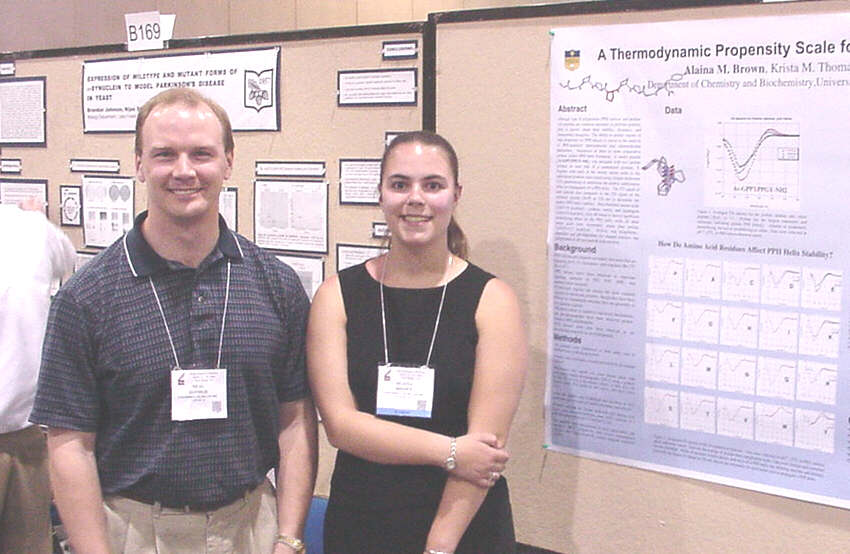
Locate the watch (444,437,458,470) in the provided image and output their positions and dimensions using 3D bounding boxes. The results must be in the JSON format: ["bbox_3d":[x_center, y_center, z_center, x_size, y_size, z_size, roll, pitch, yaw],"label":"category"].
[{"bbox_3d":[0.089,0.610,2.378,0.042,0.108,0.034,0,7,2],"label":"watch"}]
